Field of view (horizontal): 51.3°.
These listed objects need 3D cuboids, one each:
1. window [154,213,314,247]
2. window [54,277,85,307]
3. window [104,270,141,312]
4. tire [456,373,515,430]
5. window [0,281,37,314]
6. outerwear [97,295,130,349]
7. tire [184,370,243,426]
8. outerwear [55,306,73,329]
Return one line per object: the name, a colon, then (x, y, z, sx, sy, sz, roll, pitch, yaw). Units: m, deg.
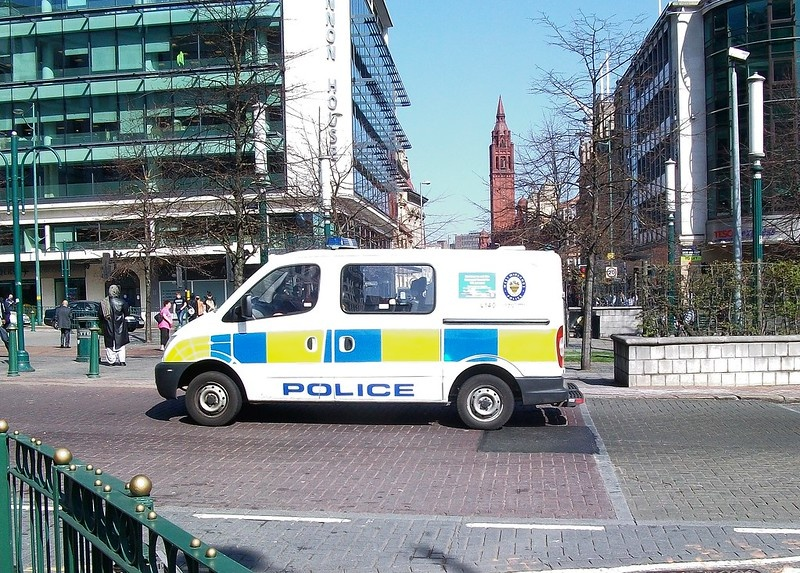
window: (-6.078, -2.094, 30.361, 3.192, 0.721, 2.863, 0, -2, 1)
window: (-19.801, 0.200, 50.080, 1.824, 1.669, 0.983, -1, -2, -1)
window: (-16.878, 0.223, 51.022, 2.071, 2.703, 0.187, 1, -16, -28)
tire: (1.341, 1.740, 12.940, 0.926, 0.900, 0.321, 0, 0, 3)
window: (-18.832, 0.436, 41.130, 1.913, 1.748, 1.022, -3, -4, -5)
outerwear: (-7.243, 0.882, 21.092, 0.702, 1.383, 0.708, -3, 6, -23)
tire: (-2.952, 1.740, 13.248, 0.766, 0.744, 0.266, -12, -5, -2)
outerwear: (-11.650, 1.053, 28.808, 0.462, 0.769, 0.656, -4, 6, -30)
